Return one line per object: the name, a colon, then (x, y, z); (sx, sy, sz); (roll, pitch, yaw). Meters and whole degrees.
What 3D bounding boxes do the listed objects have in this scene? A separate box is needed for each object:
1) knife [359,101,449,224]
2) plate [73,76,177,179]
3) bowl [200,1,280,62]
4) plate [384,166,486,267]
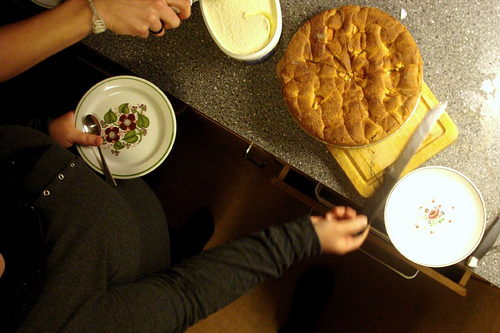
knife: (0.550, -0.026, 1.445); (0.054, 0.022, 0.485); (31, 100, 16)
plate: (-0.459, -0.162, 1.542); (0.351, 0.105, 0.391); (-34, 79, 16)
bowl: (-0.036, -0.481, 1.431); (0.281, 0.121, 0.212); (12, 94, 19)
plate: (0.644, 0.168, 1.432); (0.308, 0.073, 0.329); (5, 91, 19)
